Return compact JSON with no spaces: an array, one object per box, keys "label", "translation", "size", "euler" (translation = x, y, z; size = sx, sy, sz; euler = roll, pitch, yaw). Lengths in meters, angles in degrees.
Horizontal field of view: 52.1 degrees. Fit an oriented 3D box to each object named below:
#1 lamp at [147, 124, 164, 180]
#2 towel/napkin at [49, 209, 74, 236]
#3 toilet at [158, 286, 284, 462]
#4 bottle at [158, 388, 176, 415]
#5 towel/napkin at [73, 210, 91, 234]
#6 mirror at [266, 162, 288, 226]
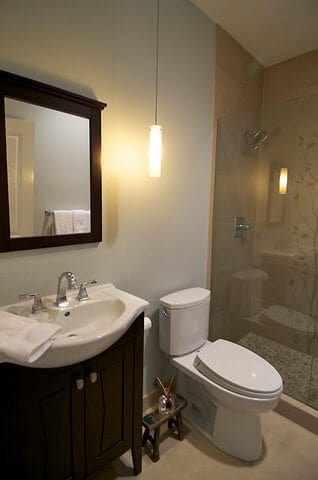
[{"label":"lamp","translation":[-0.024,-0.455,1.702],"size":[0.067,0.254,0.270],"euler":[0,5,-2]},{"label":"towel/napkin","translation":[-0.415,-0.074,1.371],"size":[0.012,0.118,0.078],"euler":[7,11,32]},{"label":"toilet","translation":[0.319,0.691,1.743],"size":[0.542,0.807,0.331],"euler":[11,22,42]},{"label":"bottle","translation":[0.037,0.852,1.716],"size":[0.068,0.159,0.071],"euler":[0,-3,0]},{"label":"towel/napkin","translation":[-0.348,-0.084,1.451],"size":[0.012,0.118,0.071],"euler":[9,12,37]},{"label":"mirror","translation":[0.790,-0.305,2.176],"size":[0.025,0.412,0.155],"euler":[-2,5,-30]}]
